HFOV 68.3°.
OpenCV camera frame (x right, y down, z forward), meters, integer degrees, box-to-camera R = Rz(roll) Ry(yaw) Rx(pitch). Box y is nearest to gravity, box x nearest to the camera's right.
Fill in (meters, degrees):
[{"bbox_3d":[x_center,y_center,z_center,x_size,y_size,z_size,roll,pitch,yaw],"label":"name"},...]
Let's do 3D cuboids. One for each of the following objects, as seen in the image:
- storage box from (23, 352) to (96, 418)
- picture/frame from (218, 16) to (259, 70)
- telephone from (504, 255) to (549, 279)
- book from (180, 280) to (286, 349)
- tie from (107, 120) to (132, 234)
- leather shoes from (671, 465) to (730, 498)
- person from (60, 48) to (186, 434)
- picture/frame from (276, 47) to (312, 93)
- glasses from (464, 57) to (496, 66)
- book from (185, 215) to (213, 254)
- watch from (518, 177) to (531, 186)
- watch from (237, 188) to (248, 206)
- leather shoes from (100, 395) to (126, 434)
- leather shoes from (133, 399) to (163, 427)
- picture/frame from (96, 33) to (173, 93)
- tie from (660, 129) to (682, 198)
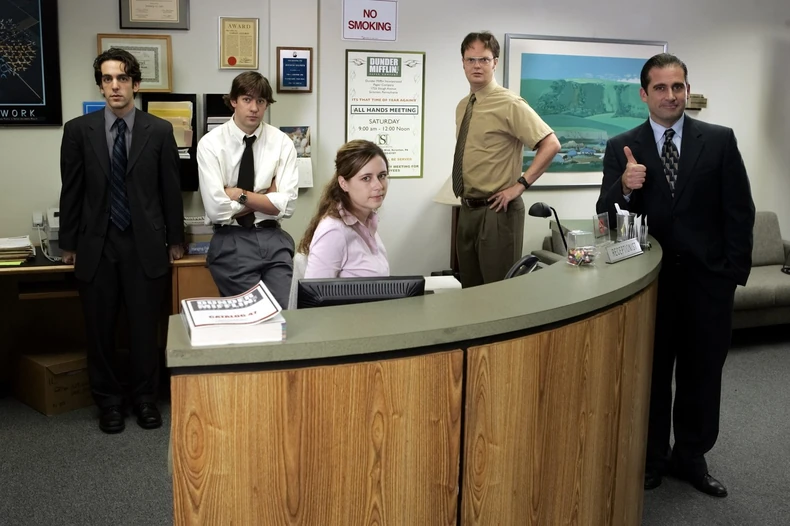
[{"bbox_3d":[-2.562,0.838,4.334,0.407,0.336,0.414,-2,4,-37],"label":"storage box"},{"bbox_3d":[-1.272,-1.737,4.657,0.378,0.535,0.035,-1,6,-19],"label":"picture/frame"},{"bbox_3d":[0.701,0.056,3.062,0.201,0.079,0.126,-25,25,-6],"label":"telephone"},{"bbox_3d":[-0.586,0.185,2.079,0.331,0.141,0.319,-7,15,-23],"label":"book"},{"bbox_3d":[-1.889,-0.580,3.970,0.125,0.732,0.138,-1,12,-4],"label":"tie"},{"bbox_3d":[1.848,1.293,3.553,0.115,0.147,0.343,-11,15,-36],"label":"leather shoes"},{"bbox_3d":[-1.898,-0.167,4.055,0.805,2.459,0.372,-7,13,-28],"label":"person"},{"bbox_3d":[-0.837,-1.568,4.774,0.319,0.390,0.037,-1,5,-13],"label":"picture/frame"},{"bbox_3d":[0.642,-1.479,4.350,0.210,0.049,0.083,-1,14,-1],"label":"glasses"},{"bbox_3d":[-1.495,-0.200,4.428,0.232,0.160,0.238,-2,7,-24],"label":"book"},{"bbox_3d":[0.957,-0.577,4.259,0.076,0.058,0.038,41,-14,9],"label":"watch"},{"bbox_3d":[-1.036,-0.423,3.955,0.051,0.094,0.083,4,8,-12],"label":"watch"},{"bbox_3d":[-1.991,1.062,4.069,0.111,0.129,0.308,-1,6,-27],"label":"leather shoes"},{"bbox_3d":[-1.755,1.067,4.122,0.107,0.137,0.298,-3,8,-31],"label":"leather shoes"},{"bbox_3d":[-1.931,-1.446,4.254,0.550,0.542,0.061,0,8,-4],"label":"picture/frame"},{"bbox_3d":[1.565,-0.562,3.281,0.096,0.345,0.065,8,14,36],"label":"tie"}]
